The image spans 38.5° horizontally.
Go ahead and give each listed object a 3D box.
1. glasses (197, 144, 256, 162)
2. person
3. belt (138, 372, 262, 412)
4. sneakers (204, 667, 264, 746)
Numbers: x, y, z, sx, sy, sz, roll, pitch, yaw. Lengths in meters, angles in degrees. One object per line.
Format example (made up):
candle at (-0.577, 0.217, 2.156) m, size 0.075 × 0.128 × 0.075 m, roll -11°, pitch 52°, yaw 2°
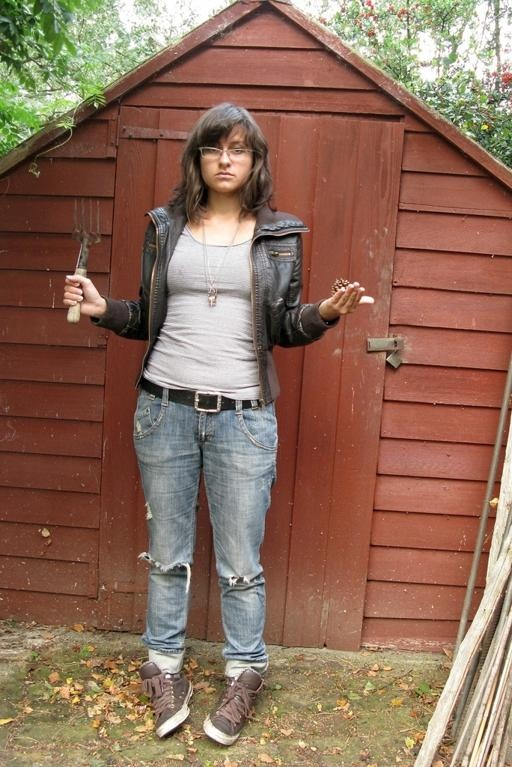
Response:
glasses at (-0.094, -0.754, 2.396) m, size 0.176 × 0.045 × 0.062 m, roll 1°, pitch 9°, yaw -8°
person at (-0.156, 0.132, 2.465) m, size 0.808 × 2.099 × 0.487 m, roll 4°, pitch 10°, yaw 5°
belt at (-0.207, 0.042, 2.439) m, size 0.430 × 0.082 × 0.123 m, roll 5°, pitch 9°, yaw 13°
sneakers at (-0.050, 1.070, 2.524) m, size 0.115 × 0.139 × 0.309 m, roll 32°, pitch 20°, yaw 6°
